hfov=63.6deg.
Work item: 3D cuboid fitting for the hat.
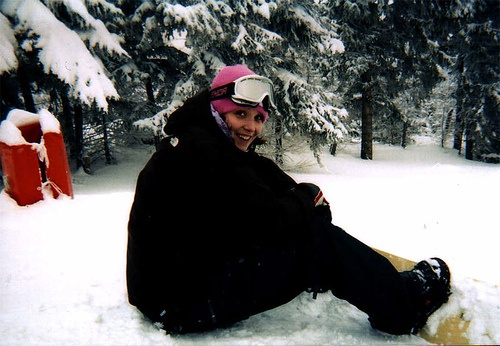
[{"bbox_3d":[-0.149,-1.195,6.035,0.895,0.838,0.956,-3,-9,-20],"label":"hat"}]
